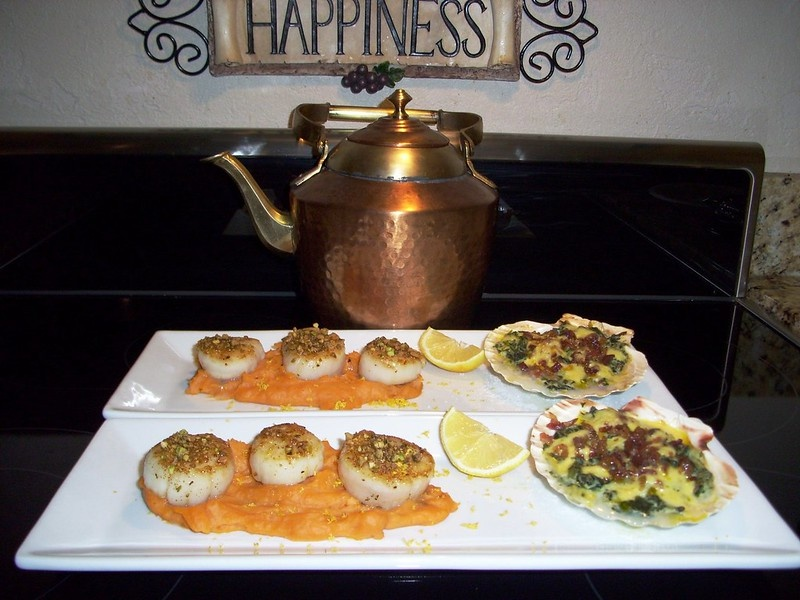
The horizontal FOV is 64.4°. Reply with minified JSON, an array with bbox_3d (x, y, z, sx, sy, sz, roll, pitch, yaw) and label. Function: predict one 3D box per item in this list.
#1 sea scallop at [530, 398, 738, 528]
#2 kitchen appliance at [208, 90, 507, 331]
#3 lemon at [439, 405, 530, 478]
[{"bbox_3d":[0.406,0.290,1.118,0.315,0.057,0.324,16,31,18],"label":"sea scallop"},{"bbox_3d":[-0.051,-0.248,1.515,0.640,0.495,0.472,2,17,5],"label":"kitchen appliance"},{"bbox_3d":[0.142,0.273,1.174,0.123,0.064,0.191,-8,20,-38],"label":"lemon"}]
